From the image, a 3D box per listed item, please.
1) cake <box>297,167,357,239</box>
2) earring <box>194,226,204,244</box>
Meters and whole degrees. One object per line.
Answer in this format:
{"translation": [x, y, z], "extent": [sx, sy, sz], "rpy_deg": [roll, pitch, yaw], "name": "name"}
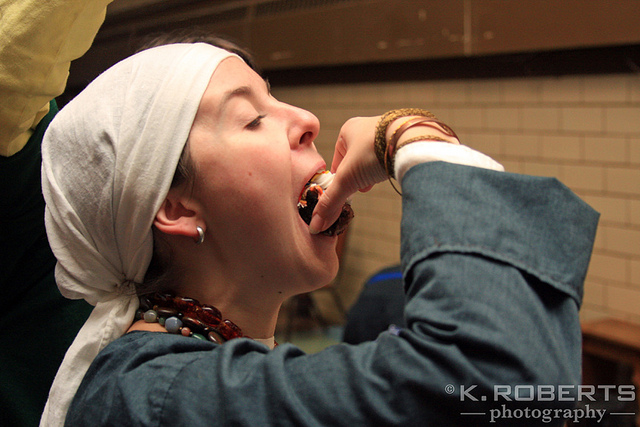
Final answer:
{"translation": [0.005, -0.029, 1.339], "extent": [0.060, 0.129, 0.165], "rpy_deg": [-8, 54, 60], "name": "cake"}
{"translation": [-0.266, 0.049, 1.229], "extent": [0.024, 0.011, 0.034], "rpy_deg": [18, 106, 47], "name": "earring"}
